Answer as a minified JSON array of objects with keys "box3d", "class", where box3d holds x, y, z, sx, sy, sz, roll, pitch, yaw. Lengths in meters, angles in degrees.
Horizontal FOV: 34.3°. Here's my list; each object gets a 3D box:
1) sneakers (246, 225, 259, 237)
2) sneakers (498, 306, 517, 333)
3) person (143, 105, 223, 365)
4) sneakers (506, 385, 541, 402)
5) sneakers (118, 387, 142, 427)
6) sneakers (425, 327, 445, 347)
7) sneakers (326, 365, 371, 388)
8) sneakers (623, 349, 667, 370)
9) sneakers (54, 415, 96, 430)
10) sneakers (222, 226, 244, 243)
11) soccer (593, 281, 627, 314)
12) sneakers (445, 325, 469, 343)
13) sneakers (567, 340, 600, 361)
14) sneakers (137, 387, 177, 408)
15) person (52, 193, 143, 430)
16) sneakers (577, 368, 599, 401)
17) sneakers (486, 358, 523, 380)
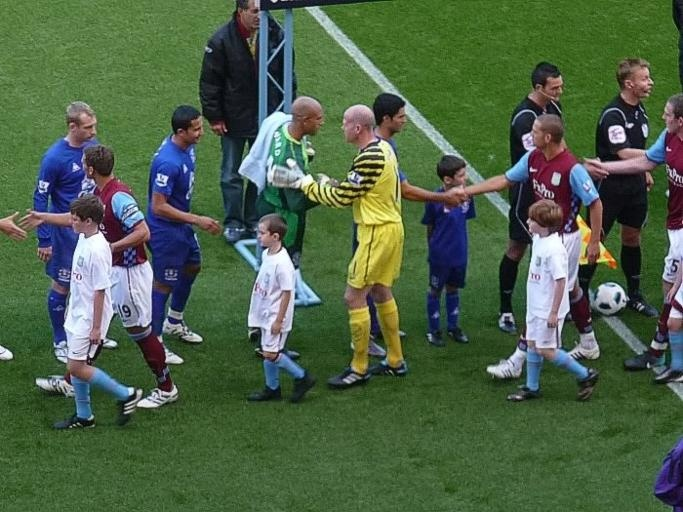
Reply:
[{"box3d":[-1.009,-0.283,12.667,0.116,0.184,0.290,-2,16,-8],"class":"sneakers"},{"box3d":[1.701,0.685,11.253,0.111,0.111,0.264,-2,19,-2],"class":"sneakers"},{"box3d":[-1.568,-0.117,11.139,0.989,3.209,1.078,2,38,-5],"class":"person"},{"box3d":[1.688,1.270,10.185,0.274,0.119,0.132,-1,13,-6],"class":"sneakers"},{"box3d":[-1.841,1.372,9.757,0.129,0.387,0.166,31,12,31],"class":"sneakers"},{"box3d":[0.942,0.824,11.042,0.085,0.098,0.210,-5,9,-25],"class":"sneakers"},{"box3d":[0.081,1.160,10.429,0.413,0.169,0.163,-7,13,-19],"class":"sneakers"},{"box3d":[2.873,0.980,10.613,0.452,0.200,0.161,-5,14,-11],"class":"sneakers"},{"box3d":[-2.331,1.483,9.799,0.361,0.147,0.131,3,-1,-3],"class":"sneakers"},{"box3d":[-1.196,-0.253,12.663,0.251,0.183,0.213,-4,16,-15],"class":"sneakers"},{"box3d":[2.793,0.452,11.468,0.355,0.301,0.232,4,15,13],"class":"soccer"},{"box3d":[1.190,0.788,11.123,0.199,0.141,0.189,-1,15,-6],"class":"sneakers"},{"box3d":[2.362,0.948,10.699,0.399,0.199,0.146,-3,46,17],"class":"sneakers"},{"box3d":[-1.647,1.298,10.076,0.376,0.161,0.148,-7,25,-14],"class":"sneakers"},{"box3d":[-2.169,0.506,9.612,0.690,2.024,0.375,-4,15,-15],"class":"person"},{"box3d":[2.268,1.158,10.163,0.164,0.282,0.265,4,16,15],"class":"sneakers"},{"box3d":[1.541,1.066,10.495,0.394,0.195,0.146,2,28,2],"class":"sneakers"}]
